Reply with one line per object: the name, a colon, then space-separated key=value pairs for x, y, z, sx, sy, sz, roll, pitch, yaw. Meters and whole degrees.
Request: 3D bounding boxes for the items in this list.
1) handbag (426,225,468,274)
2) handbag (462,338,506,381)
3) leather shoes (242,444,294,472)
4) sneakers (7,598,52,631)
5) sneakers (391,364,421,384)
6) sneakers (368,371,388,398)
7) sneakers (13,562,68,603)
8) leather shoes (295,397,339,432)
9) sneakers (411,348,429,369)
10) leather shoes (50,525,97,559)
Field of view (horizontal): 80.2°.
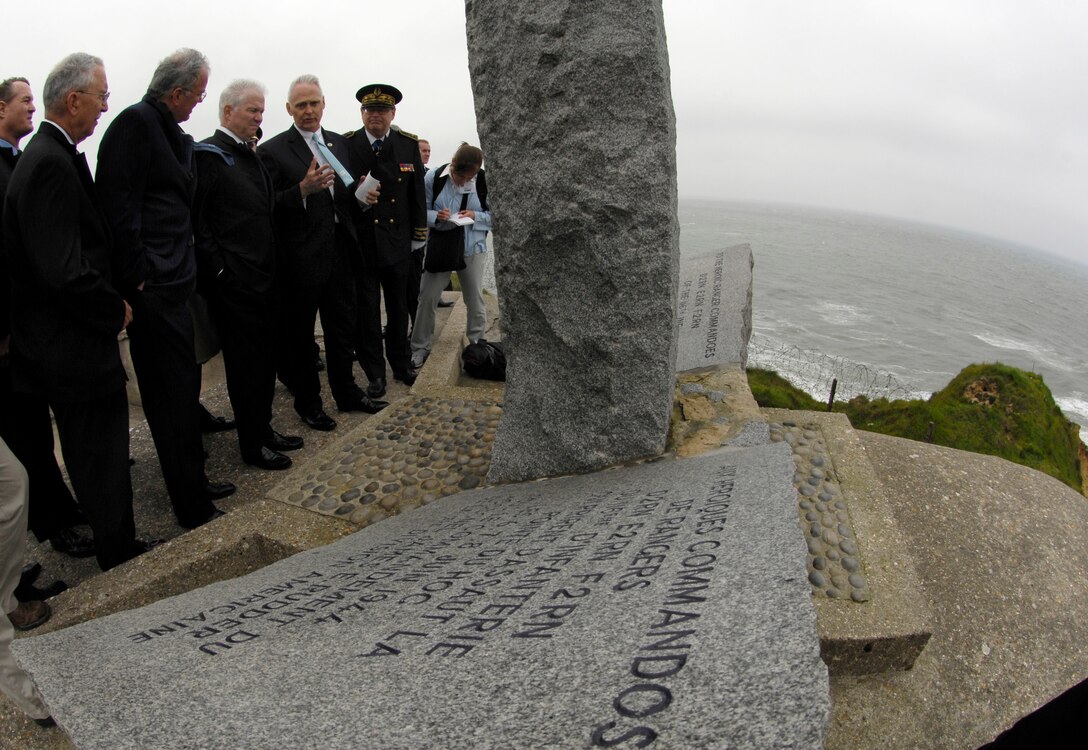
handbag: x=-0.863 y=-1.109 z=5.655 sx=0.479 sy=0.572 sz=0.196 roll=0 pitch=-1 yaw=-12
handbag: x=-0.514 y=-0.128 z=5.903 sx=0.361 sy=0.414 sz=0.186 roll=0 pitch=-4 yaw=5
leather shoes: x=-1.922 y=0.566 z=4.512 sx=0.370 sy=0.146 sz=0.155 roll=1 pitch=20 yaw=8
sneakers: x=-2.447 y=1.100 z=3.050 sx=0.160 sy=0.173 sz=0.159 roll=-7 pitch=19 yaw=-39
sneakers: x=-1.303 y=0.012 z=5.930 sx=0.362 sy=0.149 sz=0.123 roll=-14 pitch=29 yaw=41
sneakers: x=-1.415 y=0.098 z=5.480 sx=0.091 sy=0.147 sz=0.266 roll=7 pitch=16 yaw=9
sneakers: x=-2.616 y=1.072 z=3.318 sx=0.235 sy=0.102 sz=0.247 roll=-18 pitch=16 yaw=39
leather shoes: x=-1.803 y=0.311 z=5.100 sx=0.426 sy=0.159 sz=0.169 roll=20 pitch=39 yaw=24
sneakers: x=-1.169 y=-0.144 z=6.076 sx=0.139 sy=0.106 sz=0.206 roll=-2 pitch=54 yaw=2
leather shoes: x=-2.759 y=0.988 z=3.755 sx=0.233 sy=0.066 sz=0.167 roll=22 pitch=29 yaw=-1
